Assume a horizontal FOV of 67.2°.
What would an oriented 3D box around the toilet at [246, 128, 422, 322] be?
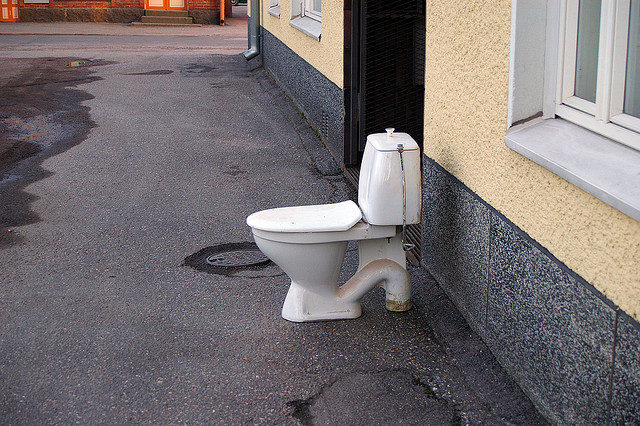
[{"bbox_3d":[0.130,0.111,3.334,1.200,1.213,0.572,-9,30,-9],"label":"toilet"}]
